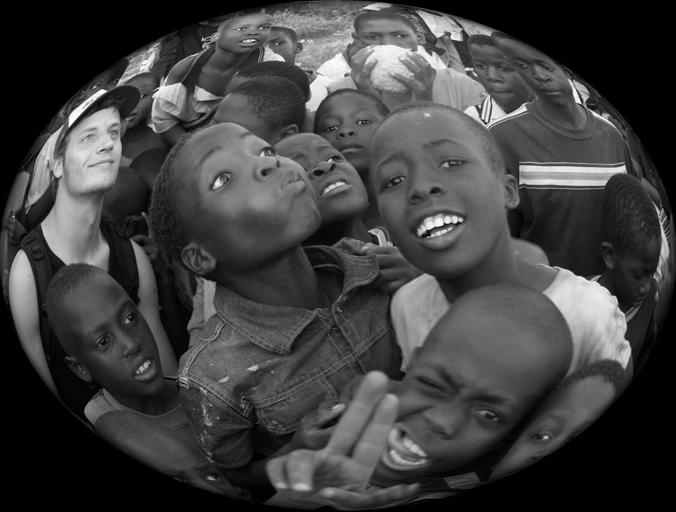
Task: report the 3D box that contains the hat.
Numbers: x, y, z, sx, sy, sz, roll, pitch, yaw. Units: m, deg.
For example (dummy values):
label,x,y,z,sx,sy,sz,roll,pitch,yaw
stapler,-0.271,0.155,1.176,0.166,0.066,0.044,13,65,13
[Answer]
label,x,y,z,sx,sy,sz,roll,pitch,yaw
hat,-1.010,-0.536,2.728,0.416,0.110,0.238,-41,-17,19
